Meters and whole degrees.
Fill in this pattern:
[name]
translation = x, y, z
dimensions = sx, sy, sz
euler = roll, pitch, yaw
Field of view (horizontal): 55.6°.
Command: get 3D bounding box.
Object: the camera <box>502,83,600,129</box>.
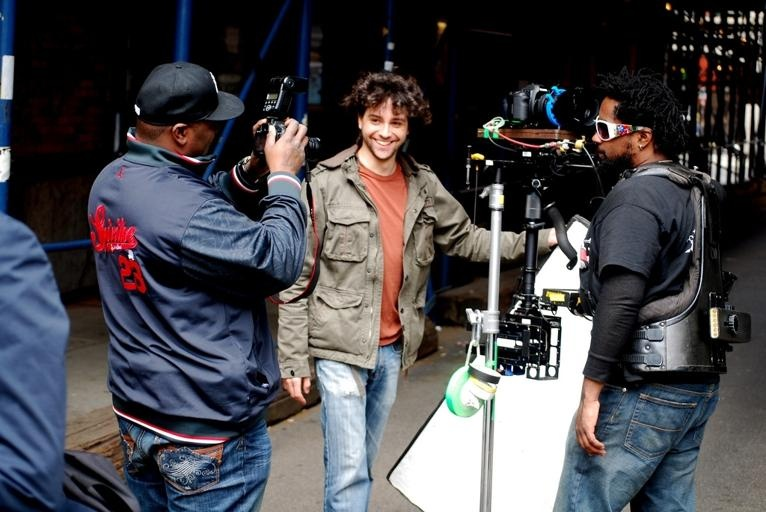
[camera]
translation = 0.837, -0.714, 3.584
dimensions = 0.289, 0.158, 0.287
euler = 8, 12, 37

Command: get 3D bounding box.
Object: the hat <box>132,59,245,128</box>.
[hat]
translation = -0.788, -0.667, 2.955
dimensions = 0.370, 0.176, 0.268
euler = -5, 35, -16
